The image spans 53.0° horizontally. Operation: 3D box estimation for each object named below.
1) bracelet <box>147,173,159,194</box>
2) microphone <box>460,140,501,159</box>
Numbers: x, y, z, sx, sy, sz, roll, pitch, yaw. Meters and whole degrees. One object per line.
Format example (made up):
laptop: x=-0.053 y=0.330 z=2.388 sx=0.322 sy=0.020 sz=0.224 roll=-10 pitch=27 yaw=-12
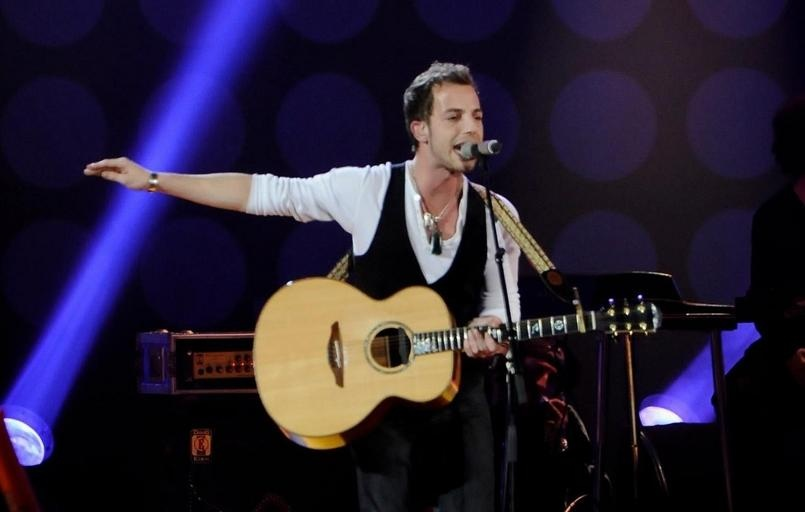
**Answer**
bracelet: x=-1.726 y=-0.515 z=5.574 sx=0.076 sy=0.129 sz=0.113 roll=2 pitch=-14 yaw=-17
microphone: x=0.495 y=-0.701 z=5.277 sx=0.107 sy=0.111 sz=0.360 roll=32 pitch=-7 yaw=-18
